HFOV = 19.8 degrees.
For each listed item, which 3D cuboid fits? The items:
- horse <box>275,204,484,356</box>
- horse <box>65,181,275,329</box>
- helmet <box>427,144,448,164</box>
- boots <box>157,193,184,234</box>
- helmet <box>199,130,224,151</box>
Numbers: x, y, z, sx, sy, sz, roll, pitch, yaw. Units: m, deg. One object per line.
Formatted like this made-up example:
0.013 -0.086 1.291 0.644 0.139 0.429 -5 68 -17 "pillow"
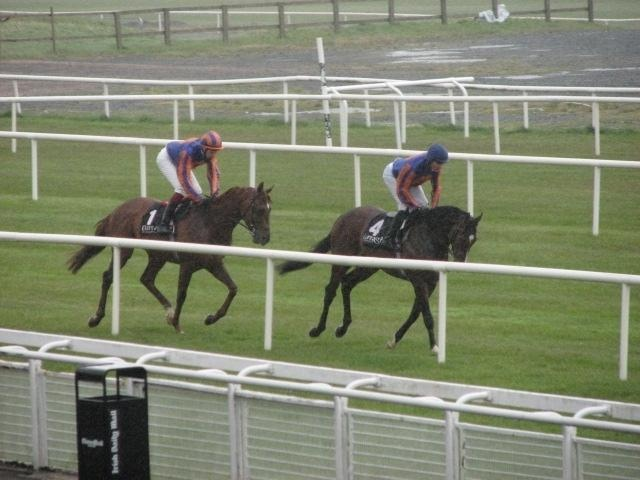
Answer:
0.761 0.415 20.596 1.923 1.567 0.955 2 8 25 "horse"
-1.729 0.241 21.342 3.290 1.725 0.783 2 -3 45 "horse"
1.322 -0.968 20.758 0.220 0.224 0.205 -1 7 -3 "helmet"
-1.753 -0.279 21.073 0.315 0.429 0.158 14 -14 8 "boots"
-1.273 -1.146 21.215 0.296 0.158 0.216 33 54 27 "helmet"
